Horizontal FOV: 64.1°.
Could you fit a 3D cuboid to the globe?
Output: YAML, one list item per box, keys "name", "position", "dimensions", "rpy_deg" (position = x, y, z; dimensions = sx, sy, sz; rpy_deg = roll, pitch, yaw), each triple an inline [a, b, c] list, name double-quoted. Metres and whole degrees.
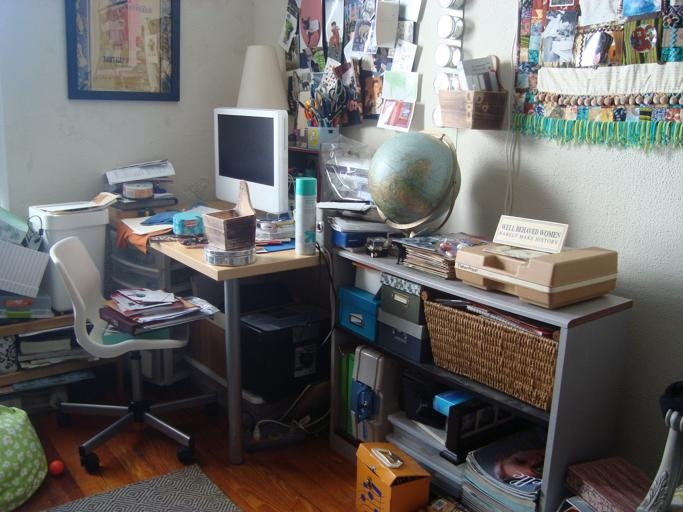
- name: "globe"
  position: [0.275, -0.278, 2.216]
  dimensions: [0.393, 0.419, 0.345]
  rpy_deg: [-2, 4, 25]

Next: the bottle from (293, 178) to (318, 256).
- name: "bottle"
  position: [-0.153, -0.174, 2.375]
  dimensions: [0.098, 0.326, 0.123]
  rpy_deg: [-2, 15, -5]

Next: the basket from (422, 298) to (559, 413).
- name: "basket"
  position: [0.554, 0.324, 1.907]
  dimensions: [0.298, 0.313, 0.442]
  rpy_deg: [-10, 19, -35]

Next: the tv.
- name: "tv"
  position: [-0.440, -0.476, 2.732]
  dimensions: [0.054, 0.605, 0.772]
  rpy_deg: [-5, 11, -36]

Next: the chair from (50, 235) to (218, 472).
- name: "chair"
  position: [-0.995, 0.437, 2.594]
  dimensions: [0.675, 0.886, 0.695]
  rpy_deg: [-1, 6, -6]
